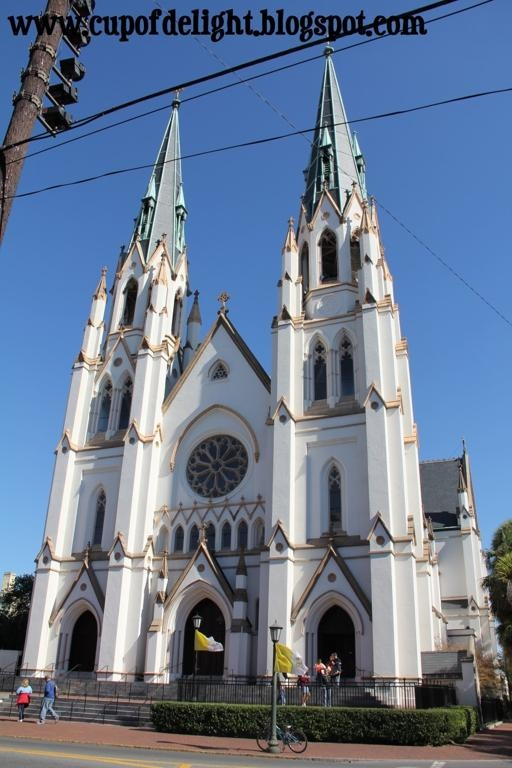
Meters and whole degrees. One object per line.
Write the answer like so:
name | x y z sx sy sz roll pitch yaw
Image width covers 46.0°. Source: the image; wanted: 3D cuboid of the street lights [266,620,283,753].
street lights | 0.429 7.217 14.483 0.525 2.796 0.401 4 -19 -4

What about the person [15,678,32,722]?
person | -7.802 10.596 20.233 0.398 1.206 3.614 9 -27 -16
